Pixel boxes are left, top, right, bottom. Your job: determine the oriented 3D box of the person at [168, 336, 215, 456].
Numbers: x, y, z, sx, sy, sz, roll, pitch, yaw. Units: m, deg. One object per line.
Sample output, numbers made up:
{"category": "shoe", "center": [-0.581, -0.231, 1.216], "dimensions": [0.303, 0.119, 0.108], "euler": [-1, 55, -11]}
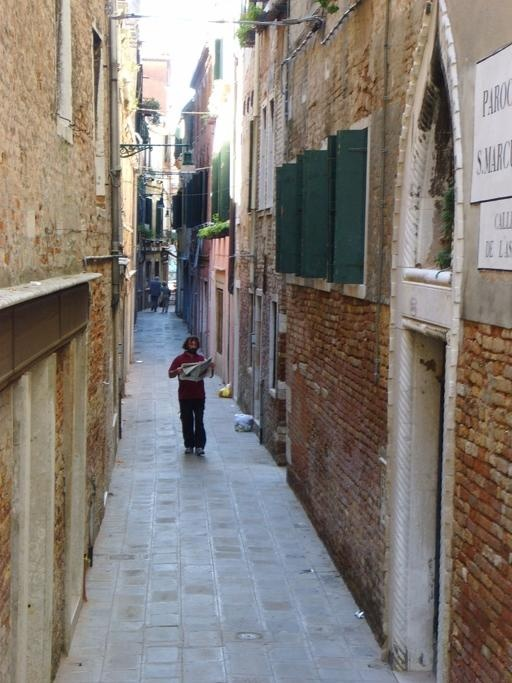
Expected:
{"category": "person", "center": [-0.954, 0.825, 12.290], "dimensions": [0.593, 1.782, 1.342], "euler": [0, 2, -3]}
